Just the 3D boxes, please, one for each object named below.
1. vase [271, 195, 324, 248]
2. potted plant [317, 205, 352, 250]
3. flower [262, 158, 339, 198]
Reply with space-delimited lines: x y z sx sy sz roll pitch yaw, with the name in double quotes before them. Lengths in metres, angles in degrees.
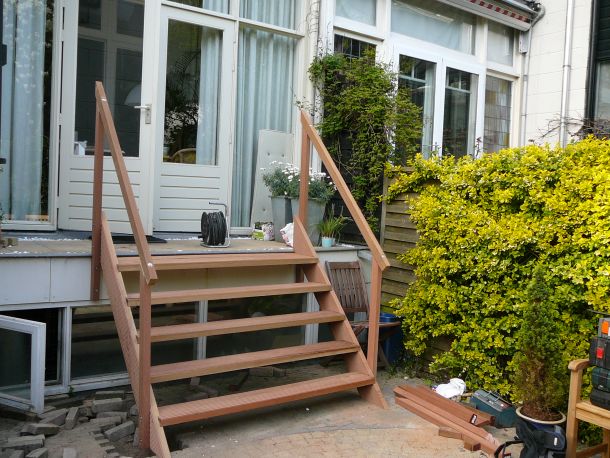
"vase" -0.086 -0.098 6.347 0.511 0.529 0.645 1 3 -23
"potted plant" 0.253 -0.013 6.206 0.249 0.357 0.351 20 1 -4
"flower" -0.058 -0.535 6.449 0.695 0.307 0.542 7 10 31
